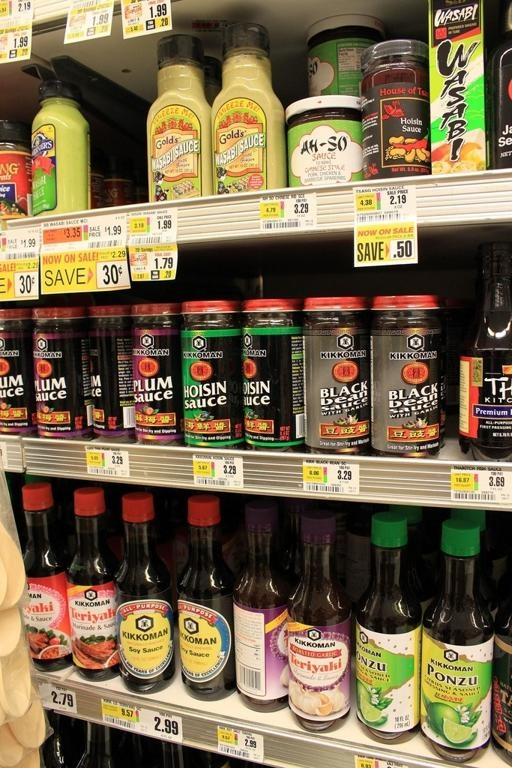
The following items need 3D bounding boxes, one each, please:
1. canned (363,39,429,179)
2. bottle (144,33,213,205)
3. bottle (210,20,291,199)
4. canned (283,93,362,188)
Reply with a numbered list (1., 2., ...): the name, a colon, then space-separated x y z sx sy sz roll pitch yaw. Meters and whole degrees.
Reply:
1. canned: 0.211 -0.412 0.970 0.092 0.200 0.047 -2 7 18
2. bottle: -0.144 -0.477 1.141 0.128 0.304 0.109 -4 7 1
3. bottle: -0.015 -0.464 1.083 0.122 0.282 0.079 -4 7 3
4. canned: 0.112 -0.391 1.109 0.155 0.163 0.153 0 4 -4
